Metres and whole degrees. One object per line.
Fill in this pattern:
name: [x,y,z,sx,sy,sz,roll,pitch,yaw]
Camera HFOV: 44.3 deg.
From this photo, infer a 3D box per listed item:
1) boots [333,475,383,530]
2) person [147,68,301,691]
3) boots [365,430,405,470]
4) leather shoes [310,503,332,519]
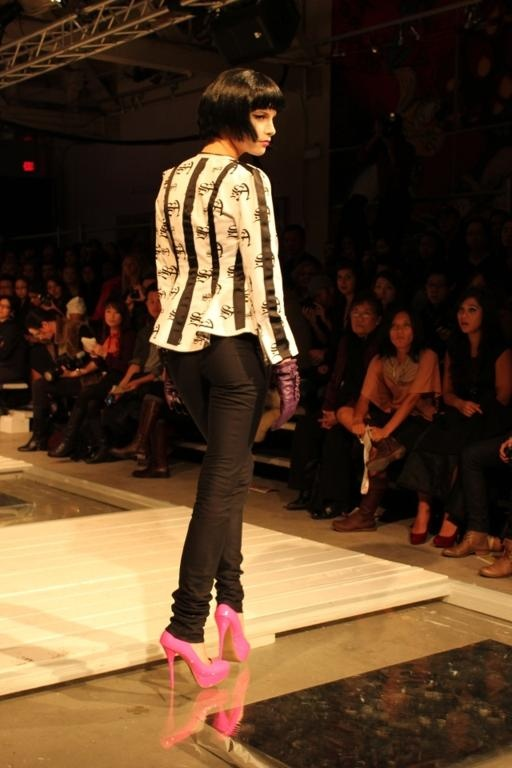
boots: [0.614,0.689,3.647,0.315,0.276,0.205,5,-1,-17]
person: [-0.085,0.094,1.365,0.355,1.169,0.288,6,-1,-11]
boots: [0.723,0.389,3.546,0.212,0.177,0.105,5,-1,-26]
leather shoes: [0.423,0.790,3.923,0.156,0.093,0.062,4,-1,2]
